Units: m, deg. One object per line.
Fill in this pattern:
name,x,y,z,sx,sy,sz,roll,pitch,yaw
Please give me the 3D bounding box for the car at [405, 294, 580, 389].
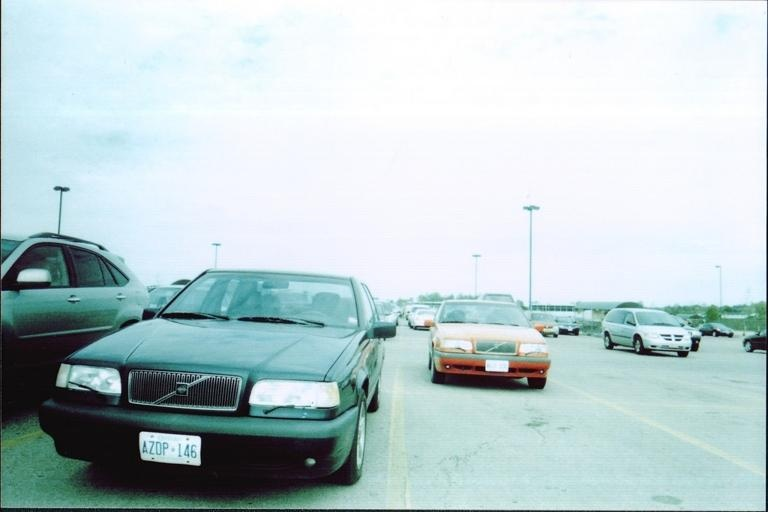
car,1.693,1.517,12.277,1.795,1.325,1.872,1,2,-1
